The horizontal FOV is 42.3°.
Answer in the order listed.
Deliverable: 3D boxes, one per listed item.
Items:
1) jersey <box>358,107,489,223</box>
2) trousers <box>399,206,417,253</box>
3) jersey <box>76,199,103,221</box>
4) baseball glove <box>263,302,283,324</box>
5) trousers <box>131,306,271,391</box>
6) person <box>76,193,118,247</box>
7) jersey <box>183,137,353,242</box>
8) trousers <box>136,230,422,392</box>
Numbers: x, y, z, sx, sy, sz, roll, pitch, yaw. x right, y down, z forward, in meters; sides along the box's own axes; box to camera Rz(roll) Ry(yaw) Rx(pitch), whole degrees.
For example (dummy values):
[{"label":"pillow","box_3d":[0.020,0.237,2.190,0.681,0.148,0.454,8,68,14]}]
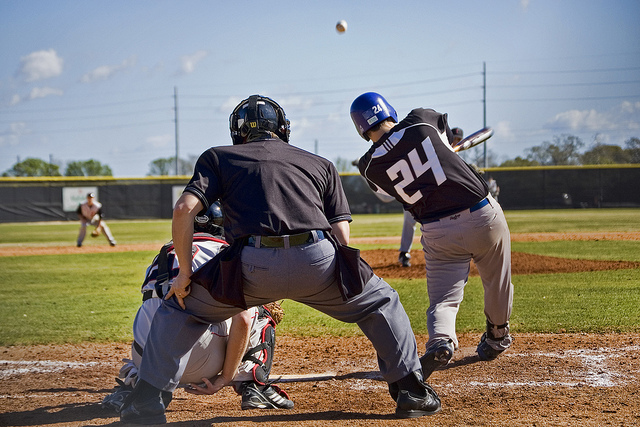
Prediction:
[{"label":"jersey","box_3d":[1.191,-0.502,9.836,1.314,1.550,0.596,-39,-38,12]},{"label":"trousers","box_3d":[1.611,0.354,15.377,0.272,0.291,1.088,20,-30,12]},{"label":"jersey","box_3d":[-5.908,-0.082,21.109,0.719,0.608,0.366,-1,7,-28]},{"label":"baseball glove","box_3d":[-0.557,1.181,9.847,0.177,0.214,0.232,0,-18,-8]},{"label":"trousers","box_3d":[-1.328,1.545,9.552,1.260,0.526,0.961,3,-3,-10]},{"label":"person","box_3d":[-5.457,0.152,19.975,0.882,1.295,0.720,0,18,3]},{"label":"jersey","box_3d":[-0.609,-0.156,9.531,1.952,1.400,1.076,1,-10,-18]},{"label":"trousers","box_3d":[-0.462,1.017,9.370,3.130,2.037,1.026,-2,15,-7]}]
